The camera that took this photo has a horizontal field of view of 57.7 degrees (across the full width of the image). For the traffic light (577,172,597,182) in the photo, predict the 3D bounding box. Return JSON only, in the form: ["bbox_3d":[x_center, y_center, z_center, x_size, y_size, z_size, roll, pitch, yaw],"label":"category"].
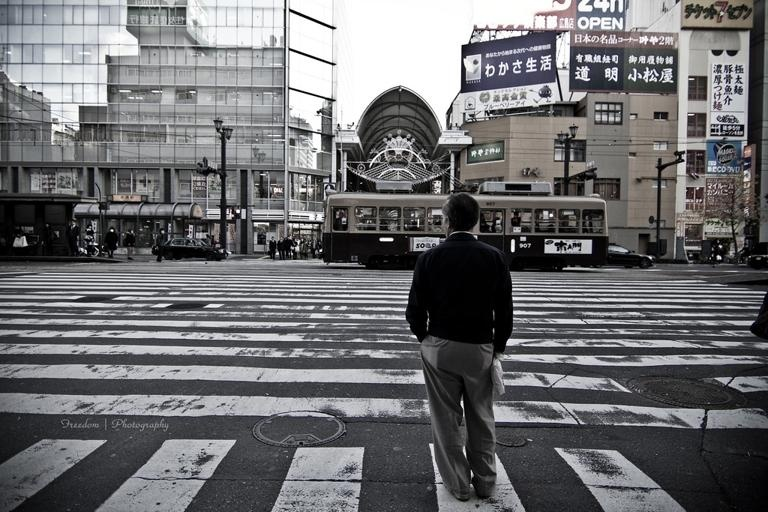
[{"bbox_3d":[13.057,-5.159,45.268,0.912,0.231,0.822,2,-2,-32],"label":"traffic light"}]

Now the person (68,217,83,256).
[{"bbox_3d":[-17.857,-1.058,40.126,0.358,1.971,0.771,-1,4,-7],"label":"person"}]

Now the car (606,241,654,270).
[{"bbox_3d":[15.542,-0.065,44.795,3.511,1.285,1.635,-1,4,3],"label":"car"}]

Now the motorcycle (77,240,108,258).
[{"bbox_3d":[-18.073,-0.424,43.256,1.522,1.043,1.071,-1,3,-5],"label":"motorcycle"}]
